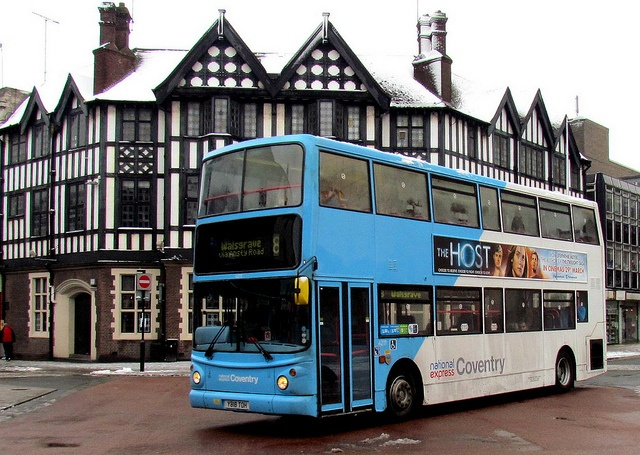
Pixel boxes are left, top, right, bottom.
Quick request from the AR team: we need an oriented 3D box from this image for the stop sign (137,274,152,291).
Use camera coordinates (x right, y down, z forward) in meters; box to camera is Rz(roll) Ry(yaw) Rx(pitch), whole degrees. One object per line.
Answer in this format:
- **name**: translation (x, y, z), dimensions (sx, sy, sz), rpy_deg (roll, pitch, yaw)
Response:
- **stop sign**: translation (-7.364, 2.273, 28.054), dimensions (0.484, 0.725, 1.354), rpy_deg (1, -5, -19)

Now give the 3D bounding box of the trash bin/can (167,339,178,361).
- **trash bin/can**: translation (-6.937, 5.750, 31.615), dimensions (0.524, 0.994, 0.358), rpy_deg (1, -3, -16)
